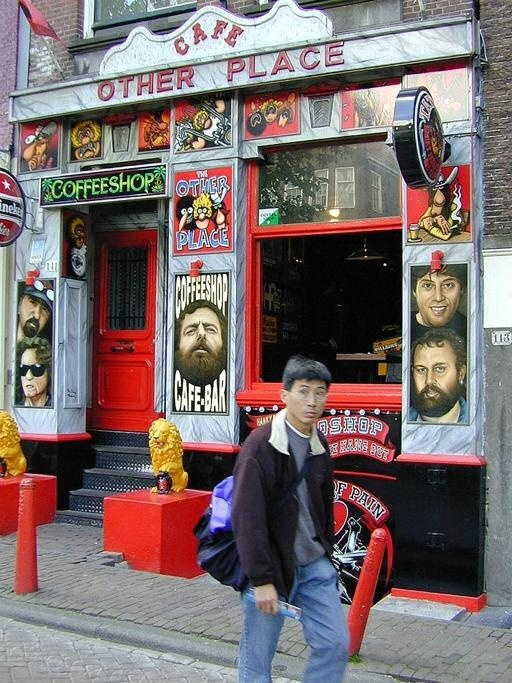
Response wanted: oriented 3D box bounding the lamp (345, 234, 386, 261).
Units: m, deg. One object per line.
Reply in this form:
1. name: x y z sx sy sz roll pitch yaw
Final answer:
1. lamp: 1.786 -1.465 10.266 0.503 0.468 0.485 1 -2 -10

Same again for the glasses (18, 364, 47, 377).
1. glasses: -2.939 0.383 8.231 0.418 0.166 0.071 -2 -8 31
